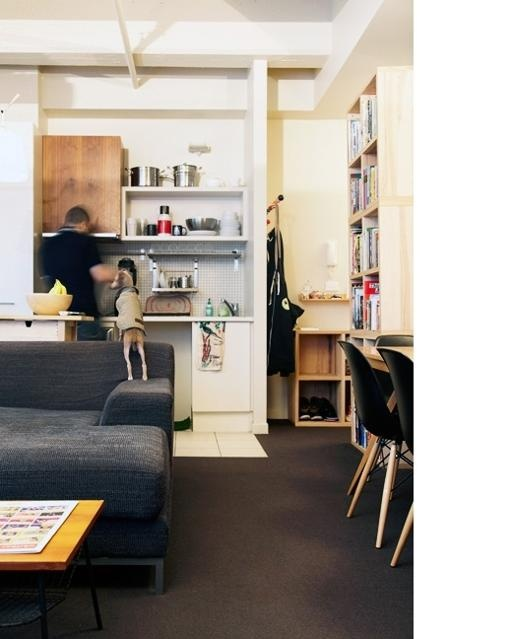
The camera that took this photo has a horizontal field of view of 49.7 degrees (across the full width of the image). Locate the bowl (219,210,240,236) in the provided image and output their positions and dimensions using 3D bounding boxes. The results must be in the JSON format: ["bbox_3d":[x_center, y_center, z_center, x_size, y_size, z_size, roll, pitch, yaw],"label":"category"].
[{"bbox_3d":[-0.244,-0.889,5.150,0.186,0.231,0.196,1,-2,0],"label":"bowl"}]

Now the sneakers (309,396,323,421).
[{"bbox_3d":[0.561,0.825,5.165,0.116,0.198,0.253,1,-2,6],"label":"sneakers"}]

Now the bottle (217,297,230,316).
[{"bbox_3d":[-0.303,-0.115,5.183,0.124,0.179,0.461,1,-2,-4],"label":"bottle"}]

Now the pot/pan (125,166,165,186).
[{"bbox_3d":[-1.036,-1.323,5.166,0.227,0.174,0.197,0,5,12],"label":"pot/pan"}]

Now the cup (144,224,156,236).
[{"bbox_3d":[-0.972,-0.822,5.075,0.092,0.122,0.098,1,7,0],"label":"cup"}]

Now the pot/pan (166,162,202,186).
[{"bbox_3d":[-0.668,-1.351,5.231,0.296,0.247,0.209,1,5,12],"label":"pot/pan"}]

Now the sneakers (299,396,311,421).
[{"bbox_3d":[0.448,0.828,5.153,0.101,0.194,0.221,1,-2,5],"label":"sneakers"}]

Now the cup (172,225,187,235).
[{"bbox_3d":[-0.708,-0.823,5.109,0.118,0.102,0.078,1,-2,-22],"label":"cup"}]

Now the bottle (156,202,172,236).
[{"bbox_3d":[-0.844,-0.917,5.108,0.134,0.316,0.176,1,-2,-16],"label":"bottle"}]

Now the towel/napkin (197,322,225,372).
[{"bbox_3d":[-0.396,0.209,4.741,0.223,0.499,0.044,-2,26,-12],"label":"towel/napkin"}]

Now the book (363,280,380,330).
[{"bbox_3d":[0.796,-0.105,3.816,0.154,0.334,0.310,0,1,0],"label":"book"}]

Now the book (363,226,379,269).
[{"bbox_3d":[0.791,-0.493,3.800,0.055,0.228,0.151,1,2,-8],"label":"book"}]

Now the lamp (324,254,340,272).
[{"bbox_3d":[0.751,-0.560,5.463,0.106,0.122,0.115,0,1,-23],"label":"lamp"}]

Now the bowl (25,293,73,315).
[{"bbox_3d":[-1.293,-0.096,3.459,0.259,0.129,0.153,2,-2,-23],"label":"bowl"}]

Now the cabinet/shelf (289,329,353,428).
[{"bbox_3d":[0.721,0.554,5.537,0.274,0.786,0.745,7,-4,29],"label":"cabinet/shelf"}]

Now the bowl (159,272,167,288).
[{"bbox_3d":[-0.858,-0.363,5.131,0.071,0.116,0.106,0,-5,-4],"label":"bowl"}]

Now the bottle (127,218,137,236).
[{"bbox_3d":[-1.136,-0.846,5.052,0.116,0.192,0.131,0,0,-11],"label":"bottle"}]

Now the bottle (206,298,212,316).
[{"bbox_3d":[-0.445,-0.125,5.246,0.072,0.180,0.306,1,-2,-5],"label":"bottle"}]
